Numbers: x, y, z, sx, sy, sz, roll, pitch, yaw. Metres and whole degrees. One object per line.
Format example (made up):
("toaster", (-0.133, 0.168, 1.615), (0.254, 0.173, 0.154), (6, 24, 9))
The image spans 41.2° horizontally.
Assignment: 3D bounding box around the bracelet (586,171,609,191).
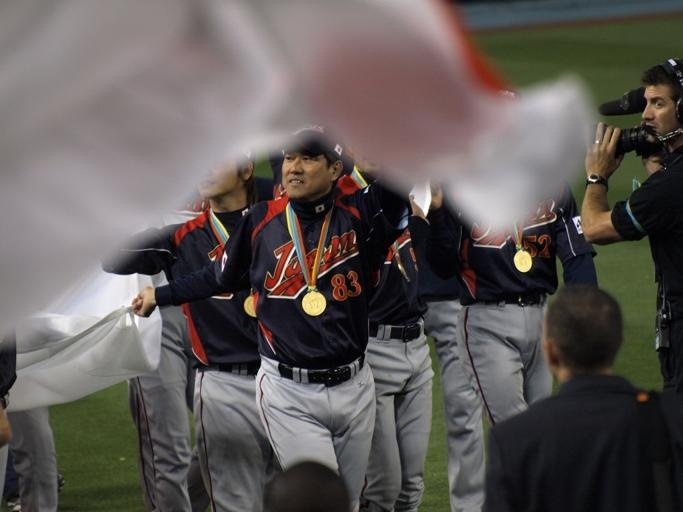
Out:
("bracelet", (1.069, -0.311, 3.788), (0.073, 0.058, 0.081), (9, -6, -32))
